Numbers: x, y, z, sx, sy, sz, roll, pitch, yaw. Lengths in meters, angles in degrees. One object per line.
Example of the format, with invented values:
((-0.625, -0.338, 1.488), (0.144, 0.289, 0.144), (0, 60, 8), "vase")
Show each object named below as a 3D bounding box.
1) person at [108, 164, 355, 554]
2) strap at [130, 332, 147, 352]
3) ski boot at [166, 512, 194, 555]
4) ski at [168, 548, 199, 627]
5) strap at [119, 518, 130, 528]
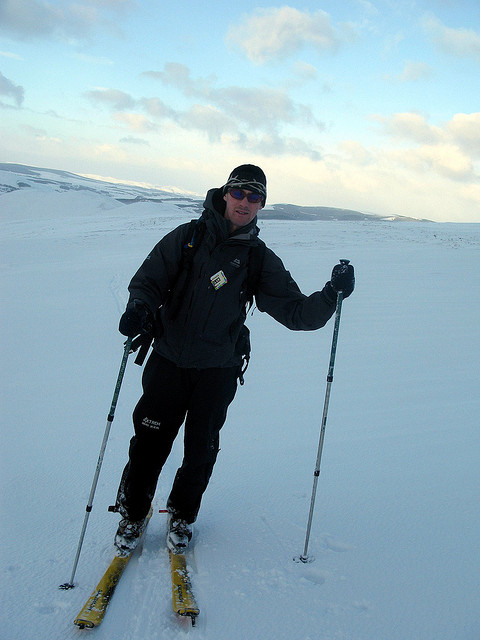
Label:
((-0.139, 0.204, 2.901), (1.112, 2.162, 0.487), (1, 8, -18), "person")
((-0.556, 0.113, 2.824), (0.031, 0.040, 0.128), (39, 35, 0), "strap")
((-0.332, 1.165, 2.864), (0.093, 0.118, 0.269), (30, 2, -13), "ski boot")
((-0.287, 1.291, 2.543), (0.065, 0.071, 0.489), (12, 11, -18), "ski")
((-0.634, 1.101, 2.798), (0.029, 0.036, 0.013), (12, -2, 6), "strap")
